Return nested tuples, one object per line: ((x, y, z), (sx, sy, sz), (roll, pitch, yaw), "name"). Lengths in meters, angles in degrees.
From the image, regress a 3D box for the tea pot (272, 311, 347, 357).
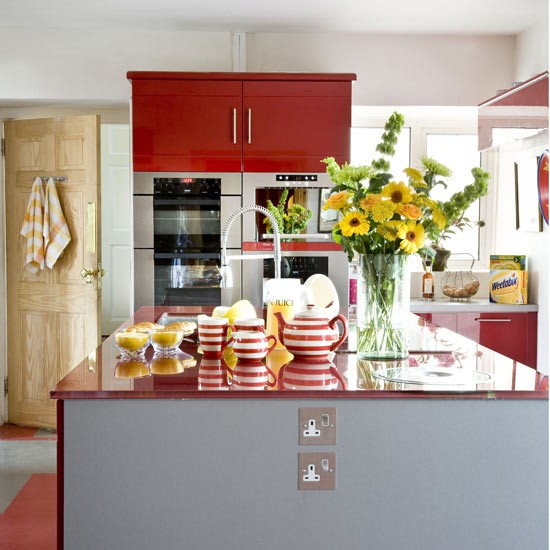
((0.095, 0.156, 1.712), (0.203, 0.135, 0.148), (1, 2, 25), "tea pot")

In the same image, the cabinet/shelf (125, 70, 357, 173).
((-0.243, -0.870, 4.191), (1.413, 0.818, 0.484), (-2, 11, -10), "cabinet/shelf")

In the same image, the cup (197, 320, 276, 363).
((-0.111, 0.164, 1.730), (0.196, 0.100, 0.108), (1, 2, 37), "cup")

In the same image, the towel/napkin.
((-1.512, -0.337, 4.214), (0.310, 0.623, 0.141), (-1, 4, -16), "towel/napkin")

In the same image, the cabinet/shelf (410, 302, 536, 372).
((1.281, 0.327, 4.231), (0.745, 0.755, 0.449), (1, 0, 1), "cabinet/shelf")

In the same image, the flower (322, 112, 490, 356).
((0.329, -0.104, 1.755), (0.439, 0.662, 0.237), (11, 11, 36), "flower")

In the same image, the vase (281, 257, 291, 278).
((0.068, -0.052, 4.038), (0.058, 0.133, 0.068), (0, 4, 1), "vase")
